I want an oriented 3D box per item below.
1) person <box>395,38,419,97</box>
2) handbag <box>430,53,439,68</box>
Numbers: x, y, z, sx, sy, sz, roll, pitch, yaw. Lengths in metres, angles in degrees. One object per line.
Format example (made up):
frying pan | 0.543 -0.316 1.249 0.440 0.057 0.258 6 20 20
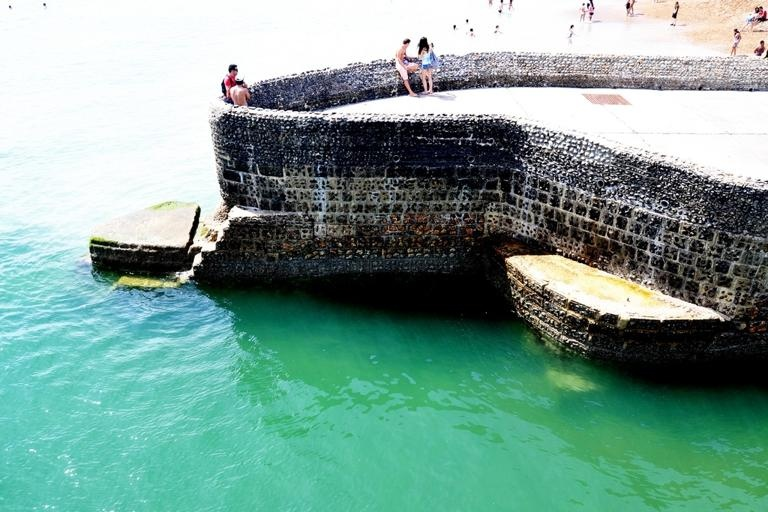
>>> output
person | 0.587 -5.011 15.250 0.622 1.480 0.892 -1 31 3
handbag | 1.299 -5.143 15.089 0.154 0.413 0.333 4 31 10
